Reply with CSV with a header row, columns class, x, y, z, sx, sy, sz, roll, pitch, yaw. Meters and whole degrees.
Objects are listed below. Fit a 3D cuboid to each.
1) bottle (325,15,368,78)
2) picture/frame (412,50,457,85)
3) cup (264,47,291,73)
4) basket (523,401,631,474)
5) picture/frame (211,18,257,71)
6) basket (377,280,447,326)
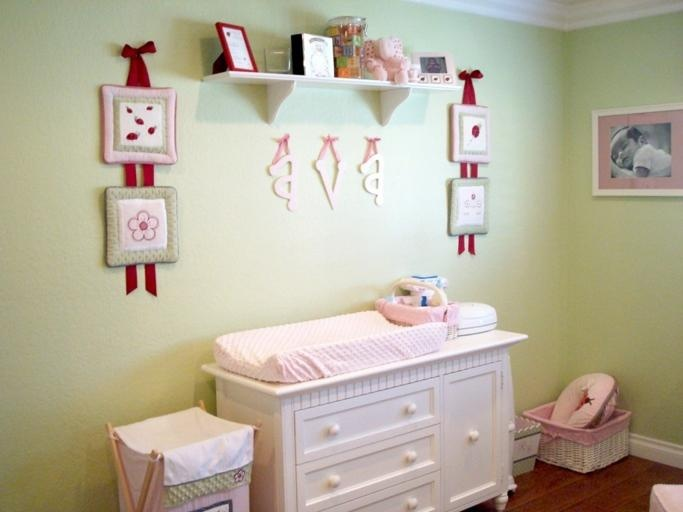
class,x,y,z,sx,sy,sz,roll,pitch,yaw
bottle,0.029,-1.080,3.014,0.184,0.309,0.214,-11,14,-43
picture/frame,0.512,-1.090,3.319,0.320,0.205,0.150,-8,10,-37
cup,-0.312,-0.953,2.803,0.116,0.142,0.117,0,12,0
basket,1.504,1.195,3.760,0.390,0.213,0.487,-3,2,-43
picture/frame,-0.493,-0.974,2.706,0.171,0.248,0.237,-5,8,-20
basket,0.395,0.230,3.150,0.320,0.221,0.511,-6,8,-29
